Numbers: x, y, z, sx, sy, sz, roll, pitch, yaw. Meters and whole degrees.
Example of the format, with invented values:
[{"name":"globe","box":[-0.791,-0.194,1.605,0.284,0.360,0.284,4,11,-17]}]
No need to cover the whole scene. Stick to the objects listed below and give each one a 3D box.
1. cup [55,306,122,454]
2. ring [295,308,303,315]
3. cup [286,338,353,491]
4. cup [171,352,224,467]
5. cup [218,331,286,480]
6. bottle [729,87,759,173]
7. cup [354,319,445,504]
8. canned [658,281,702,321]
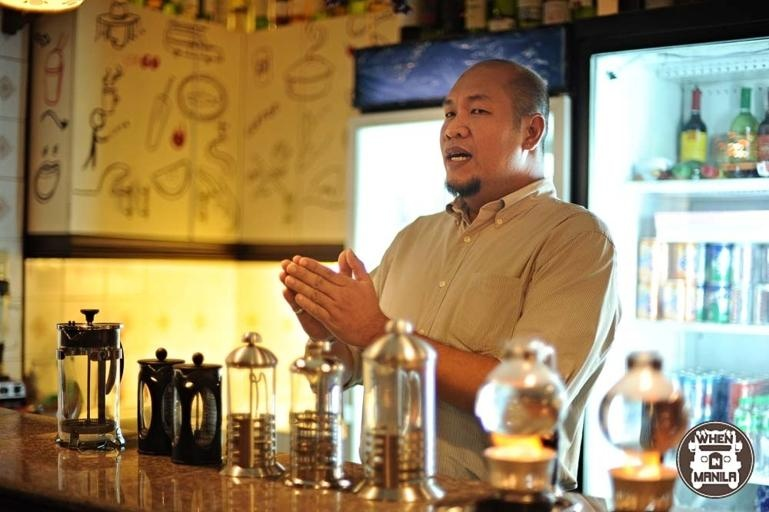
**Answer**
[{"name":"cup","box":[-0.918,0.398,2.559,0.205,0.390,0.097,2,-1,-18]},{"name":"ring","box":[-0.270,0.173,2.576,0.028,0.017,0.020,8,8,13]},{"name":"cup","box":[-0.181,0.430,2.256,0.182,0.401,0.127,1,-1,2]},{"name":"cup","box":[-0.559,0.448,2.430,0.152,0.327,0.120,1,-1,-11]},{"name":"cup","box":[-0.374,0.418,2.347,0.174,0.406,0.157,1,-1,-11]},{"name":"bottle","box":[1.523,-0.524,3.473,0.122,0.388,0.114,1,-1,0]},{"name":"cup","box":[0.040,0.401,2.138,0.240,0.480,0.151,1,-1,3]},{"name":"canned","box":[1.291,0.195,3.586,0.161,0.195,0.167,-1,-4,14]}]
